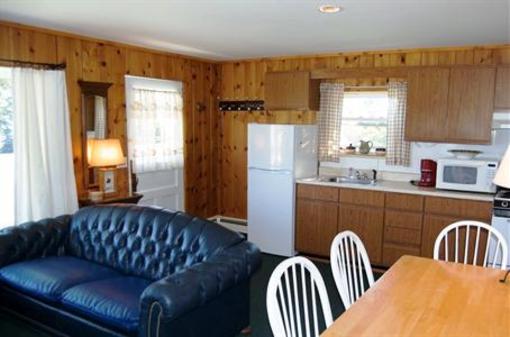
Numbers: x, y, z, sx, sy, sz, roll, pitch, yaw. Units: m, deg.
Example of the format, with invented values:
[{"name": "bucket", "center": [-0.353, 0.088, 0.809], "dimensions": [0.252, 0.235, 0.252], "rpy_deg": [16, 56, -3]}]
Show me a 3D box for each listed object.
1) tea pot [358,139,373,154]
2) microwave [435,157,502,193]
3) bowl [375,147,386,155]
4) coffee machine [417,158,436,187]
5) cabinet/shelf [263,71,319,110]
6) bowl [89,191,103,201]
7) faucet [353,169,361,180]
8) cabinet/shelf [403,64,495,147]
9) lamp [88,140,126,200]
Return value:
[{"name": "tea pot", "center": [1.754, -0.342, 5.761], "dimensions": [0.250, 0.224, 0.155], "rpy_deg": [-1, 1, -2]}, {"name": "microwave", "center": [2.784, 0.082, 4.750], "dimensions": [0.665, 0.399, 0.477], "rpy_deg": [2, 0, 33]}, {"name": "bowl", "center": [1.957, -0.272, 5.652], "dimensions": [0.120, 0.070, 0.121], "rpy_deg": [0, 8, 0]}, {"name": "coffee machine", "center": [2.453, 0.058, 5.135], "dimensions": [0.205, 0.372, 0.214], "rpy_deg": [4, 9, 22]}, {"name": "cabinet/shelf", "center": [0.373, -1.290, 5.933], "dimensions": [0.936, 0.623, 0.471], "rpy_deg": [-9, 15, -33]}, {"name": "bowl", "center": [-2.128, 0.359, 4.807], "dimensions": [0.131, 0.072, 0.130], "rpy_deg": [2, 8, 0]}, {"name": "faucet", "center": [1.597, 0.079, 5.729], "dimensions": [0.126, 0.141, 0.150], "rpy_deg": [0, -2, 1]}, {"name": "cabinet/shelf", "center": [2.580, -0.876, 5.025], "dimensions": [1.178, 1.020, 0.370], "rpy_deg": [0, 6, -3]}, {"name": "lamp", "center": [-2.059, -0.004, 4.962], "dimensions": [0.464, 0.787, 0.382], "rpy_deg": [-5, 10, -33]}]
